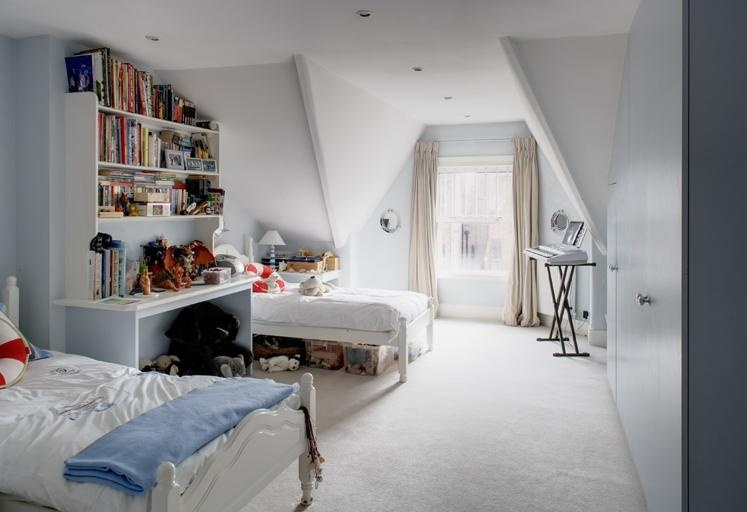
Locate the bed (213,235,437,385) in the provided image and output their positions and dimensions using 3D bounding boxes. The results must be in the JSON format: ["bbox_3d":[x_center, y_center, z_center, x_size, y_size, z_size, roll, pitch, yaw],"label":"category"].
[{"bbox_3d":[-0.475,0.502,5.590,1.883,1.175,1.354,0,2,16],"label":"bed"}]

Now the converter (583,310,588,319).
[{"bbox_3d":[2.661,0.746,6.487,0.021,0.083,0.086,2,5,-34],"label":"converter"}]

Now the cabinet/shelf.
[{"bbox_3d":[-1.929,-0.812,4.270,0.255,0.834,1.302,0,1,10],"label":"cabinet/shelf"}]

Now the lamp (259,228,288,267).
[{"bbox_3d":[-1.321,-0.102,6.794,0.431,0.645,0.437,-1,-1,-2],"label":"lamp"}]

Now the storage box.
[{"bbox_3d":[-0.239,1.031,5.289,0.553,0.191,0.452,0,0,22],"label":"storage box"}]
